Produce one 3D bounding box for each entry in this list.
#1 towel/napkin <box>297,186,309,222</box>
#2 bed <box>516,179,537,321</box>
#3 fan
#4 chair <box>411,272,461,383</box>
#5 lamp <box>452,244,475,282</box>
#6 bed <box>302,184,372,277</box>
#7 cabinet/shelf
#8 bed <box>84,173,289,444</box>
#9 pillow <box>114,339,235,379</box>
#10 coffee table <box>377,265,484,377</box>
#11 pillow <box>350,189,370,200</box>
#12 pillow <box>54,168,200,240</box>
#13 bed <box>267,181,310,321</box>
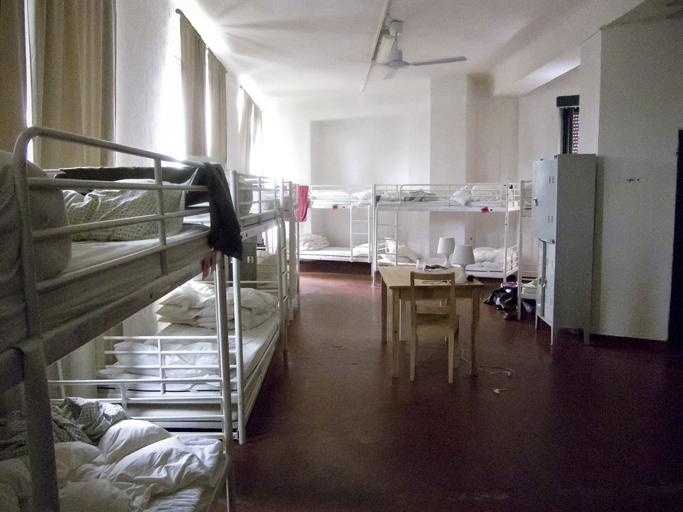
[{"bbox_3d":[-0.680,-0.936,9.217,0.376,0.528,0.134,1,3,2],"label":"towel/napkin"},{"bbox_3d":[2.643,-0.328,7.383,0.293,1.689,2.826,4,15,20],"label":"bed"},{"bbox_3d":[0.785,-2.833,6.931,1.534,0.582,1.580,-1,12,-17],"label":"fan"},{"bbox_3d":[0.849,0.584,4.759,0.432,0.997,0.582,2,14,12],"label":"chair"},{"bbox_3d":[1.183,0.076,5.037,0.205,0.352,0.206,-1,5,-12],"label":"lamp"},{"bbox_3d":[-0.068,-0.545,9.691,1.262,2.132,2.160,2,5,9],"label":"bed"},{"bbox_3d":[2.431,-0.083,5.645,0.580,2.007,0.825,1,13,8],"label":"cabinet/shelf"},{"bbox_3d":[-1.020,0.207,5.036,1.227,1.595,2.993,4,8,11],"label":"bed"},{"bbox_3d":[-1.325,0.785,3.974,0.481,0.158,0.496,2,1,3],"label":"pillow"},{"bbox_3d":[0.870,0.603,5.185,0.878,0.696,0.711,5,4,3],"label":"coffee table"},{"bbox_3d":[0.391,-1.030,8.907,0.238,0.173,0.522,-10,16,-32],"label":"pillow"},{"bbox_3d":[-1.228,-0.283,3.128,0.637,0.197,0.538,-22,25,-25],"label":"pillow"},{"bbox_3d":[-0.738,-0.048,7.340,0.425,1.154,1.214,-11,11,-5],"label":"bed"}]
